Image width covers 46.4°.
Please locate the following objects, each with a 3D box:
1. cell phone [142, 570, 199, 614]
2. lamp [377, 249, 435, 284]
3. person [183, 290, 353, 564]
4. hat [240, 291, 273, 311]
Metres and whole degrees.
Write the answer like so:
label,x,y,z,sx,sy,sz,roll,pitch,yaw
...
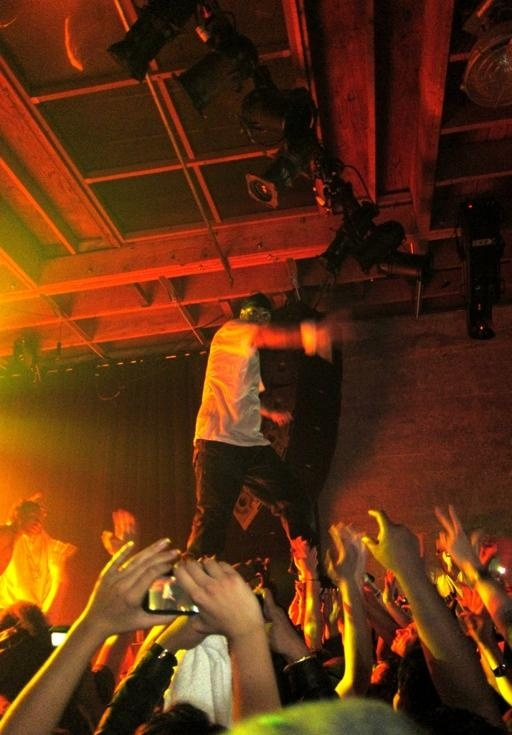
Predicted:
label,x,y,z,sx,sy,sz,roll,pitch,yaw
cell phone,-0.152,0.388,1.036,0.122,0.081,0.012,19,-47,-41
lamp,1.046,-0.719,4.207,0.361,0.202,0.178,14,-47,27
person,0.150,0.463,4.478,1.197,2.228,1.463,0,-57,-4
hat,0.002,-0.420,3.901,0.173,0.116,0.183,-2,2,20
